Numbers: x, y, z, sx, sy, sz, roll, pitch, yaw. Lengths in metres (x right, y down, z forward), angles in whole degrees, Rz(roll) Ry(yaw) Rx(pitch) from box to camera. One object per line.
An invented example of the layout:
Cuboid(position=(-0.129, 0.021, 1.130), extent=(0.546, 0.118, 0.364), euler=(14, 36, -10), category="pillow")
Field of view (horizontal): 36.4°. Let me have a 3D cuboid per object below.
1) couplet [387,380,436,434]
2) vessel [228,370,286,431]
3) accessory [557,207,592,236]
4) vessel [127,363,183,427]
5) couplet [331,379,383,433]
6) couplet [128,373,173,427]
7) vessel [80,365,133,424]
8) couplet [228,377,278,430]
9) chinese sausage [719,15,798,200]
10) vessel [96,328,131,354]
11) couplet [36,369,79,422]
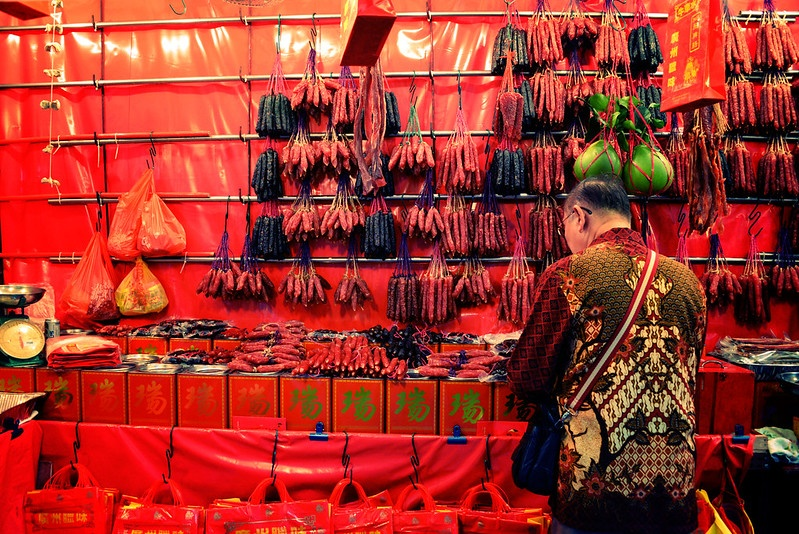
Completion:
Cuboid(position=(0.109, 1.184, 10.584), extent=(0.437, 0.440, 0.445), euler=(2, 1, 5), category="couplet")
Cuboid(position=(-1.281, 1.254, 10.755), extent=(0.503, 0.449, 0.513), euler=(5, -29, -17), category="vessel")
Cuboid(position=(1.360, -0.368, 9.507), extent=(0.209, 0.067, 0.206), euler=(-15, 4, 17), category="accessory")
Cuboid(position=(-2.264, 1.216, 10.789), extent=(0.494, 0.479, 0.485), euler=(9, -21, -38), category="vessel")
Cuboid(position=(-0.358, 1.189, 10.551), extent=(0.443, 0.439, 0.445), euler=(2, 2, -1), category="couplet")
Cuboid(position=(-2.171, 1.185, 10.867), extent=(0.429, 0.627, 0.435), euler=(3, -6, -11), category="couplet")
Cuboid(position=(-2.538, 1.125, 10.860), extent=(0.548, 0.472, 0.545), euler=(0, 3, -14), category="vessel")
Cuboid(position=(-1.254, 1.160, 10.657), extent=(0.441, 0.440, 0.418), euler=(1, 2, -3), category="couplet")
Cuboid(position=(3.377, -1.531, 11.505), extent=(0.753, 1.744, 0.362), euler=(0, 1, 3), category="chinese sausage")
Cuboid(position=(-2.666, 0.701, 11.478), extent=(0.245, 0.193, 0.249), euler=(0, -4, -2), category="vessel")
Cuboid(position=(-2.941, 1.154, 10.857), extent=(0.414, 0.427, 0.425), euler=(-5, -9, -1), category="couplet")
